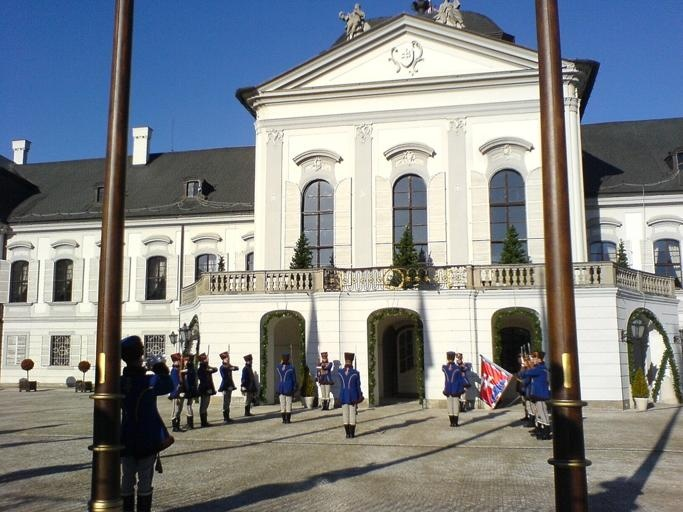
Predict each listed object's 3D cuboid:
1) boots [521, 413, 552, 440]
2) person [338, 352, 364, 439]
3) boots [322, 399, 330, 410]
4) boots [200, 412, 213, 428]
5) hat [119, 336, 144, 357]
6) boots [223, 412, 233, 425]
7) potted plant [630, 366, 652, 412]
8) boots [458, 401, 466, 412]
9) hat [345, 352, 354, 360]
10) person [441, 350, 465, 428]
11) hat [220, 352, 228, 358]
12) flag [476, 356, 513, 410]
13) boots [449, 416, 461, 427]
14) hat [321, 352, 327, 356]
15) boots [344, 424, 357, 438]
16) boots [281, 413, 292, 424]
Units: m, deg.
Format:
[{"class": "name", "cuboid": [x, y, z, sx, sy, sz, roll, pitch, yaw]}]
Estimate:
[{"class": "boots", "cuboid": [5.417, 4.742, 20.588, 0.313, 0.662, 0.723, 0, 3, -33]}, {"class": "person", "cuboid": [0.266, 3.924, 21.461, 0.601, 2.325, 1.476, -2, -9, 0]}, {"class": "boots", "cuboid": [-0.542, 5.382, 27.296, 0.275, 0.366, 0.265, 2, -9, 2]}, {"class": "boots", "cuboid": [-4.147, 5.010, 23.185, 0.306, 0.400, 0.659, 0, -9, -10]}, {"class": "hat", "cuboid": [-3.647, 1.554, 13.229, 0.308, 0.381, 1.037, -1, -9, -6]}, {"class": "boots", "cuboid": [-3.661, 5.137, 24.210, 0.200, 0.449, 0.425, -1, -8, 16]}, {"class": "potted plant", "cuboid": [10.507, 4.692, 26.665, 0.541, 1.444, 0.940, -5, -9, 18]}, {"class": "boots", "cuboid": [4.311, 5.347, 26.870, 0.191, 0.388, 0.393, 5, 15, 10]}, {"class": "hat", "cuboid": [0.239, 2.904, 21.873, 0.281, 0.276, 0.346, 1, -10, -4]}, {"class": "person", "cuboid": [3.482, 4.079, 23.251, 0.688, 2.200, 1.111, -3, -9, 7]}, {"class": "hat", "cuboid": [-3.851, 3.264, 24.908, 0.218, 0.179, 0.232, -1, -11, -9]}, {"class": "flag", "cuboid": [5.157, 4.404, 25.858, 0.091, 1.431, 1.423, 0, -46, -24]}, {"class": "boots", "cuboid": [3.422, 4.989, 22.867, 0.341, 0.422, 0.214, 1, -6, 1]}, {"class": "hat", "cuboid": [-0.571, 3.263, 25.300, 0.166, 0.171, 0.218, -6, -13, 1]}, {"class": "boots", "cuboid": [0.232, 4.835, 20.822, 0.294, 0.426, 0.354, 3, -18, -7]}, {"class": "boots", "cuboid": [-1.719, 5.080, 23.689, 0.281, 0.317, 0.253, 0, -2, 5]}]
